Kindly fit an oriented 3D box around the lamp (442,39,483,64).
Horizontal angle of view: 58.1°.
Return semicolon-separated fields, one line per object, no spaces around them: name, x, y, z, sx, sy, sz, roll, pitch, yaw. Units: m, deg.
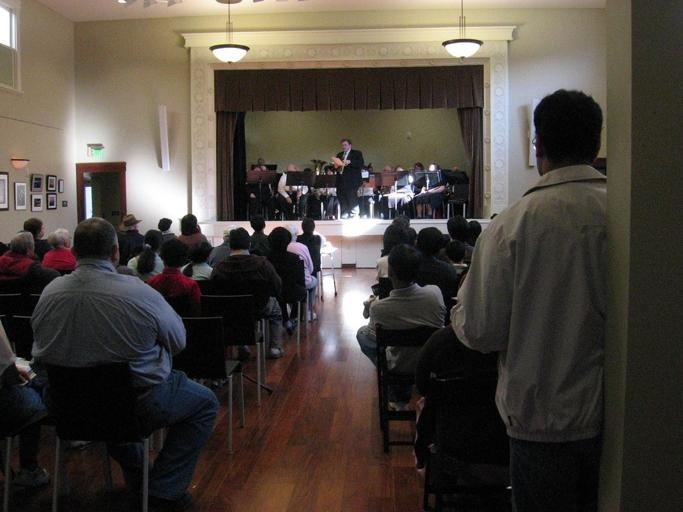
lamp;1.920;-3.282;9.726;0.471;0.217;0.487;2;9;43

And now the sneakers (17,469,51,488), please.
sneakers;-1.623;1.174;3.264;0.177;0.100;0.077;10;-3;-25

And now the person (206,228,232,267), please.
person;-1.234;-0.088;6.463;0.235;0.255;0.752;7;12;-6

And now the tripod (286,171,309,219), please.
tripod;-0.806;-1.199;11.917;0.449;0.971;0.385;5;31;2

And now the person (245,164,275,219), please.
person;-1.583;-1.203;12.023;0.579;1.086;0.735;-8;13;-24

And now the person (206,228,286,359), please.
person;-0.771;0.308;5.219;0.625;1.211;0.732;-7;12;-24

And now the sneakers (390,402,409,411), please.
sneakers;0.365;0.965;3.940;0.104;0.069;0.083;2;-8;3

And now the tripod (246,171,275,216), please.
tripod;-1.529;-1.192;12.040;0.578;0.935;0.736;1;10;12

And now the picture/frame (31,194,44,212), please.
picture/frame;-5.222;-0.903;10.543;0.027;0.312;0.293;-2;0;15

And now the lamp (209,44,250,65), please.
lamp;-1.807;-3.292;9.892;0.473;0.291;0.464;1;8;38

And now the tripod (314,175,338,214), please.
tripod;-0.285;-1.171;11.589;0.498;1.051;0.354;0;20;1

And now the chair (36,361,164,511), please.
chair;-1.155;0.880;2.901;0.510;0.823;0.272;-3;6;3

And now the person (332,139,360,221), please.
person;0.138;-1.415;11.367;0.514;1.441;0.686;-3;6;0

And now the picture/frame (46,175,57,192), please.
picture/frame;-5.147;-1.278;10.903;0.029;0.347;0.291;-2;1;17
